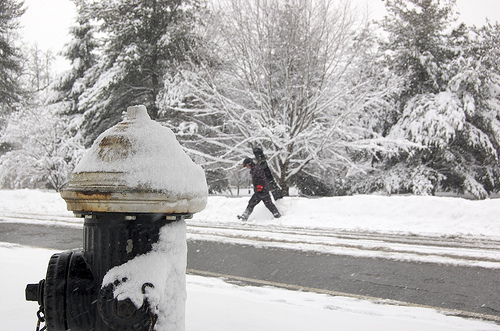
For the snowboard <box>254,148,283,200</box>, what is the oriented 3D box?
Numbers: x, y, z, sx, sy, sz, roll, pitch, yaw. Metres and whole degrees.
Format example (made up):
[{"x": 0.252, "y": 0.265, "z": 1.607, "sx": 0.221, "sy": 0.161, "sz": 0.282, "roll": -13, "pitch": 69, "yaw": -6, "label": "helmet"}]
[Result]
[{"x": 0.682, "y": 0.460, "z": 24.556, "sx": 0.602, "sy": 3.067, "sz": 0.448, "roll": -24, "pitch": 23, "yaw": 5, "label": "snowboard"}]
